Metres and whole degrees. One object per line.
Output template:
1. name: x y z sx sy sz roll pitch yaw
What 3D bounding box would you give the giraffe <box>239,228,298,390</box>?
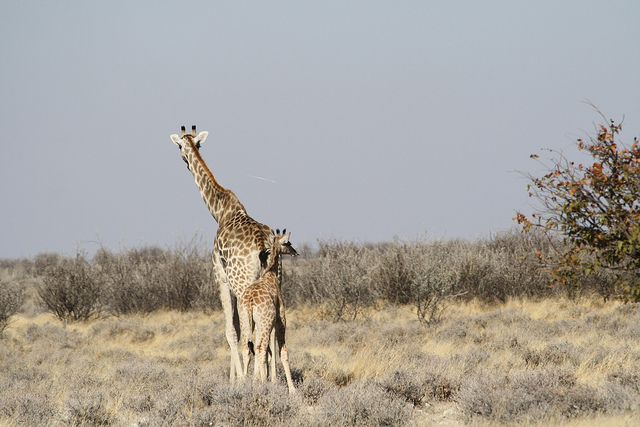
1. giraffe: -1.472 2.734 29.378 1.579 4.907 1.598 7 13 37
